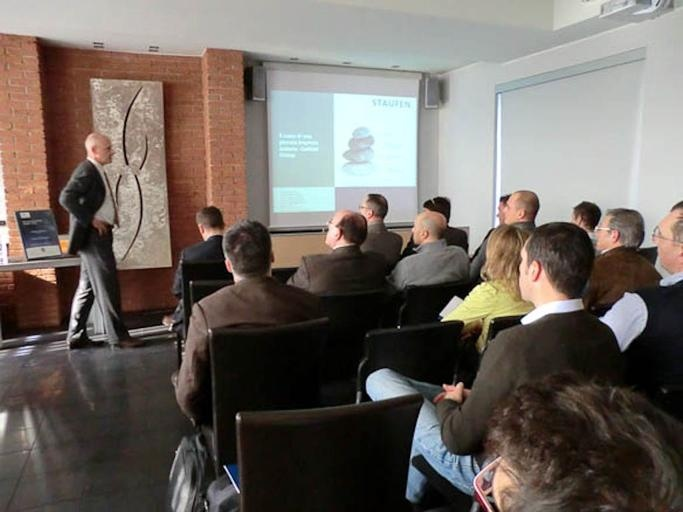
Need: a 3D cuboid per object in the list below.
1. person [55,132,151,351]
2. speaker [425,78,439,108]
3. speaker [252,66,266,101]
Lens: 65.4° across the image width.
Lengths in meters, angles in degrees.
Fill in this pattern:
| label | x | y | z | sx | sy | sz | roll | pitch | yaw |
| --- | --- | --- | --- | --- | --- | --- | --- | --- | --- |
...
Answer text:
| label | x | y | z | sx | sy | sz | roll | pitch | yaw |
| --- | --- | --- | --- | --- | --- | --- | --- | --- | --- |
| person | -2.224 | -0.133 | 4.820 | 0.603 | 1.928 | 0.432 | -4 | 11 | -23 |
| speaker | 1.358 | -2.387 | 7.768 | 0.333 | 0.426 | 0.156 | -8 | 13 | -39 |
| speaker | -1.025 | -2.170 | 6.642 | 0.171 | 0.403 | 0.087 | -3 | 10 | -14 |
